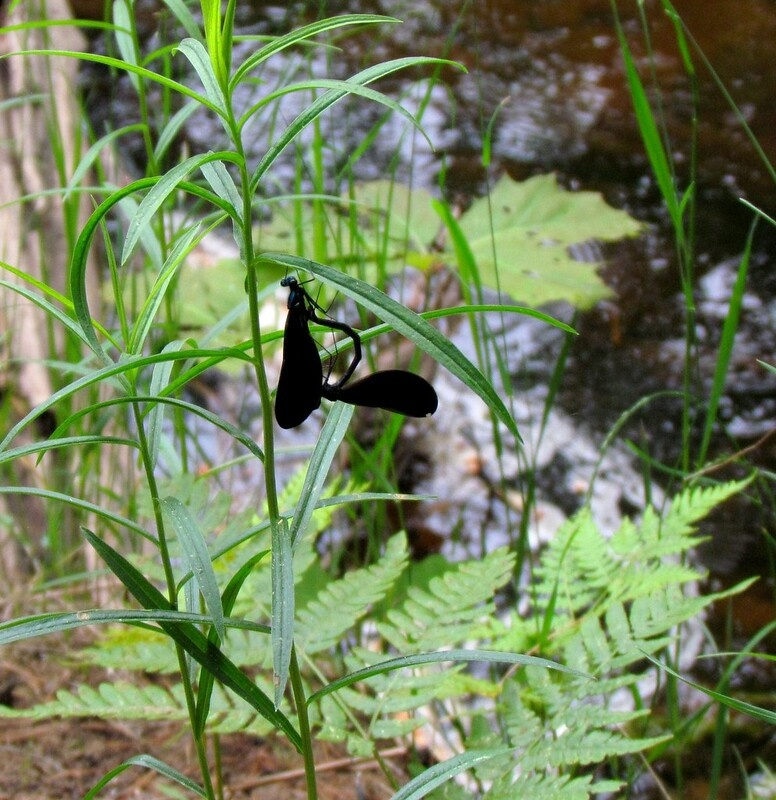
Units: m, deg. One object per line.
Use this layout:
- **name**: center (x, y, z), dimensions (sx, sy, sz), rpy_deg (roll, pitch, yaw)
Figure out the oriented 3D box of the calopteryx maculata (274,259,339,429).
- **calopteryx maculata**: center (-0.139, -0.062, 1.398), dimensions (0.075, 0.224, 0.143), rpy_deg (-4, 40, 2)
